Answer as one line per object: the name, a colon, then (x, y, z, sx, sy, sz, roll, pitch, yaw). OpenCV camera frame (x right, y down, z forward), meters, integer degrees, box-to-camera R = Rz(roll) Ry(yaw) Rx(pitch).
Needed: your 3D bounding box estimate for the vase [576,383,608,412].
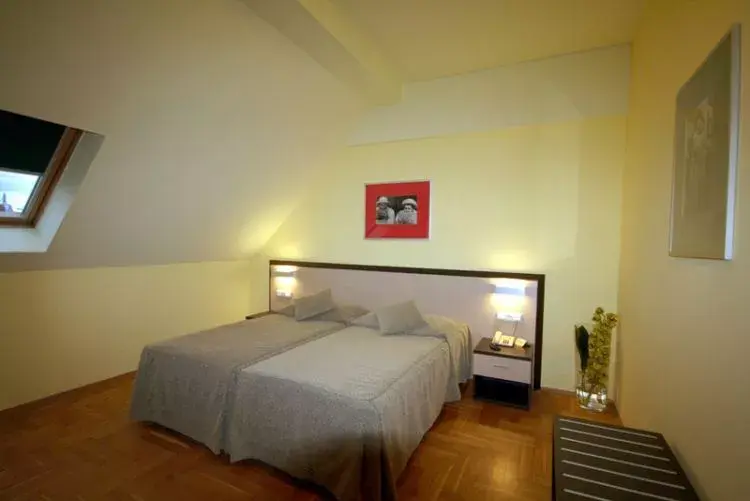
vase: (2.478, 1.668, 5.430, 0.303, 0.230, 0.288, 1, -2, -12)

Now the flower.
flower: (2.516, 1.221, 5.378, 0.401, 1.160, 0.280, 2, -2, 27)

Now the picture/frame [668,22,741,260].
picture/frame: (2.542, -0.761, 3.640, 0.168, 1.663, 0.694, 3, -2, 7)

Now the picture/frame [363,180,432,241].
picture/frame: (0.343, -0.575, 6.515, 0.837, 0.675, 0.038, 0, 2, 20)

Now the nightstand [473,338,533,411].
nightstand: (1.574, 1.443, 5.706, 0.709, 0.650, 0.561, 4, 13, 31)
